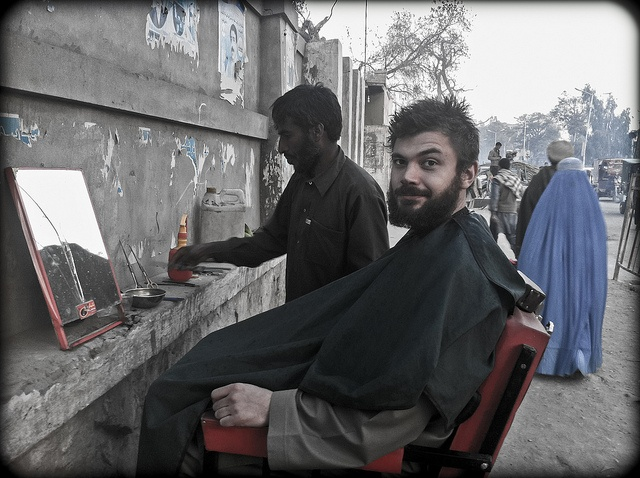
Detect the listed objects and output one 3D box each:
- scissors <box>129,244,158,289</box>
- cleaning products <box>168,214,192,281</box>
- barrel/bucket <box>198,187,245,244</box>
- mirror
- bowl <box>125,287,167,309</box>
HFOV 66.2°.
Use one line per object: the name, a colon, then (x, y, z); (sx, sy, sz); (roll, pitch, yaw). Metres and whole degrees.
scissors: (-1.136, 0.141, 3.243); (0.032, 0.428, 0.145); (-24, -8, -18)
cleaning products: (-1.005, 0.095, 3.544); (0.215, 0.503, 0.258); (3, 13, -2)
barrel/bucket: (-0.819, -0.203, 4.307); (0.333, 0.565, 0.353); (6, 12, -1)
mirror: (-1.283, 0.071, 2.579); (0.324, 0.870, 0.469); (6, 11, 23)
bowl: (-1.055, 0.354, 2.982); (0.155, 0.061, 0.151); (1, 12, 0)
